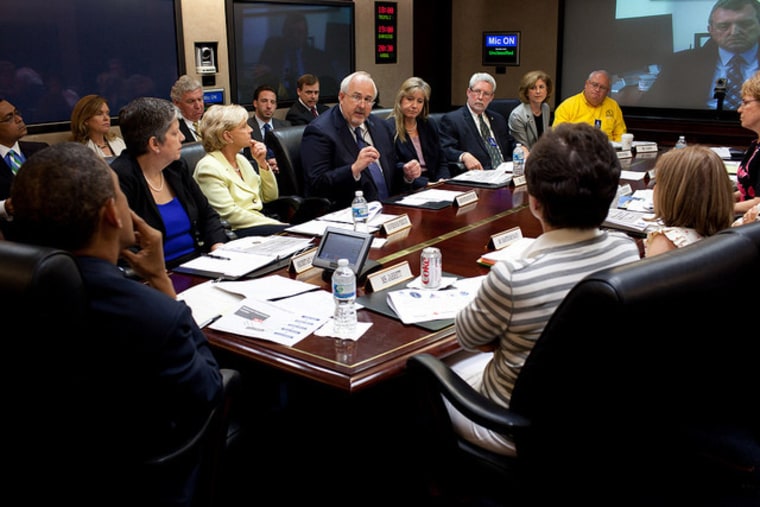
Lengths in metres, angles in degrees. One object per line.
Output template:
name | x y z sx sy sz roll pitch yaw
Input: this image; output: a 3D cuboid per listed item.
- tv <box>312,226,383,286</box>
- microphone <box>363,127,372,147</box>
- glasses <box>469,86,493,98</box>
tv | -0.135 -0.024 2.278 0.272 0.212 0.226 10 21 36
microphone | -0.098 -0.904 4.004 0.044 0.123 0.090 -32 54 5
glasses | 0.937 -1.476 4.750 0.113 0.080 0.145 7 11 5
